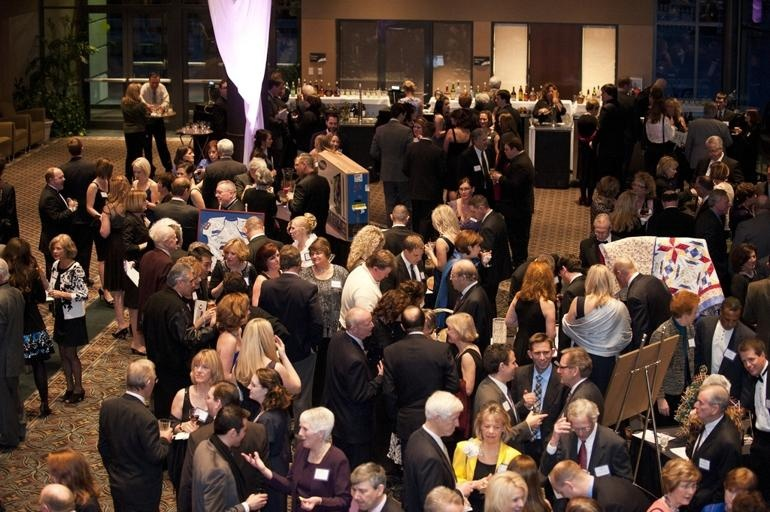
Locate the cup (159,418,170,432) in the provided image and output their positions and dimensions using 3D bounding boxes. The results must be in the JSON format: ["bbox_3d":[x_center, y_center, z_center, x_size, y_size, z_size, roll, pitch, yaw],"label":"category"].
[{"bbox_3d":[-1.849,1.405,6.016,0.073,0.091,0.081,5,12,10],"label":"cup"}]

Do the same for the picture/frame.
[{"bbox_3d":[-1.707,-0.148,7.935,0.615,0.717,0.049,0,-8,-4],"label":"picture/frame"}]

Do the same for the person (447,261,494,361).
[{"bbox_3d":[0.815,0.561,7.106,0.395,1.292,0.515,1,18,15],"label":"person"}]

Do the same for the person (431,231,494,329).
[{"bbox_3d":[0.800,0.249,7.650,0.625,1.152,0.413,-3,34,2],"label":"person"}]

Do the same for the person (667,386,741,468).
[{"bbox_3d":[2.814,1.514,6.318,0.356,1.136,0.425,-1,14,1],"label":"person"}]

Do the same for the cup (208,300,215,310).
[{"bbox_3d":[-1.770,0.494,7.309,0.043,0.045,0.090,8,12,3],"label":"cup"}]

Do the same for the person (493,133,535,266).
[{"bbox_3d":[1.772,-0.777,10.100,0.635,2.185,0.852,3,35,15],"label":"person"}]

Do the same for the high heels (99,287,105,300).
[{"bbox_3d":[-4.185,0.547,10.587,0.064,0.247,0.096,-4,-4,-8],"label":"high heels"}]

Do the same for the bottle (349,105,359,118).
[{"bbox_3d":[-0.684,-3.059,15.298,0.273,0.261,0.135,7,9,42],"label":"bottle"}]

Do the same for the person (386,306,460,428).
[{"bbox_3d":[0.321,1.385,6.751,0.664,1.948,0.555,-1,20,1],"label":"person"}]

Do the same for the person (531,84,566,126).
[{"bbox_3d":[3.336,-3.102,14.803,0.632,0.812,0.951,1,7,2],"label":"person"}]

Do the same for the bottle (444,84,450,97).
[{"bbox_3d":[1.600,-4.319,18.759,0.140,0.314,0.501,1,7,4],"label":"bottle"}]

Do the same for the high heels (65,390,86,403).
[{"bbox_3d":[-3.559,1.592,8.242,0.200,0.090,0.114,0,16,-24],"label":"high heels"}]

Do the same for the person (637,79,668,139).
[{"bbox_3d":[5.168,-2.883,13.758,0.469,0.357,1.381,27,-2,25],"label":"person"}]

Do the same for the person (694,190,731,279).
[{"bbox_3d":[3.995,-0.247,8.739,0.482,1.096,0.471,2,6,8],"label":"person"}]

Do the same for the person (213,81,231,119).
[{"bbox_3d":[-3.078,-2.926,13.404,0.215,0.690,1.261,-1,8,-15],"label":"person"}]

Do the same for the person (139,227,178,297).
[{"bbox_3d":[-2.429,0.084,7.736,0.366,0.849,0.265,27,28,21],"label":"person"}]

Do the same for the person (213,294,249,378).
[{"bbox_3d":[-1.379,0.733,6.481,0.231,0.827,0.397,-5,25,-10],"label":"person"}]

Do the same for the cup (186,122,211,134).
[{"bbox_3d":[-3.439,-2.344,13.287,0.428,0.221,0.530,-3,9,-29],"label":"cup"}]

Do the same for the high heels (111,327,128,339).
[{"bbox_3d":[-3.505,1.030,9.536,0.088,0.144,0.279,-13,19,-43],"label":"high heels"}]

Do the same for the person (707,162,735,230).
[{"bbox_3d":[4.787,-0.791,10.350,0.349,1.212,0.386,-8,28,14],"label":"person"}]

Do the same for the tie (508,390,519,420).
[{"bbox_3d":[1.112,1.320,6.384,0.072,0.230,0.153,-5,15,38],"label":"tie"}]

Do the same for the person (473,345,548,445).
[{"bbox_3d":[1.103,1.236,6.302,0.483,1.060,0.460,-8,22,-3],"label":"person"}]

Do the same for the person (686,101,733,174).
[{"bbox_3d":[5.440,-1.819,12.201,0.666,1.679,0.565,7,39,24],"label":"person"}]

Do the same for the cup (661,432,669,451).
[{"bbox_3d":[2.613,1.726,6.698,0.091,0.159,0.099,1,12,0],"label":"cup"}]

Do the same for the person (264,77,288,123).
[{"bbox_3d":[-1.917,-2.783,12.853,0.345,0.839,1.101,0,7,-8],"label":"person"}]

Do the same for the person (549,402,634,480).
[{"bbox_3d":[1.674,1.533,5.980,0.571,0.483,1.383,7,-23,31],"label":"person"}]

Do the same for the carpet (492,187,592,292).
[{"bbox_3d":[2.868,0.011,12.897,1.361,0.564,2.257,2,27,7],"label":"carpet"}]

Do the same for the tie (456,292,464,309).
[{"bbox_3d":[0.772,0.460,7.276,0.051,0.133,0.116,13,-10,-35],"label":"tie"}]

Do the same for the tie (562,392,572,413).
[{"bbox_3d":[1.601,1.287,6.344,0.100,0.153,0.051,1,15,-26],"label":"tie"}]

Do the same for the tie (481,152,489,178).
[{"bbox_3d":[1.468,-1.343,10.485,0.149,0.346,0.091,-4,8,-42],"label":"tie"}]
